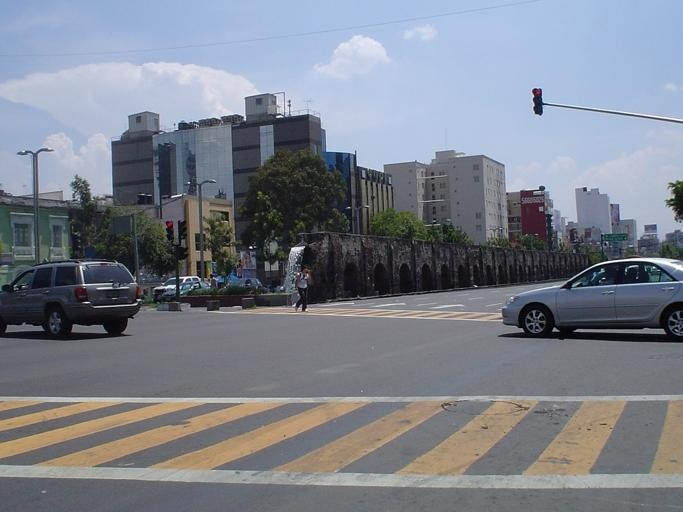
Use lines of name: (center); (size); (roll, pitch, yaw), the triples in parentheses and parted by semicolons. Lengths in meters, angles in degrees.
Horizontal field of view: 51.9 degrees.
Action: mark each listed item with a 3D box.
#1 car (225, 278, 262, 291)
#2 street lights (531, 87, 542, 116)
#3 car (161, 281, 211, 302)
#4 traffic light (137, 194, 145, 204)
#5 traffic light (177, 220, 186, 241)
car: (-8.083, 2.362, 58.469); (1.903, 1.073, 1.215); (3, -1, 1)
street lights: (7.684, -6.058, 27.448); (0.325, 1.003, 0.404); (-1, 1, 26)
car: (-10.120, 2.058, 45.425); (1.579, 1.289, 3.020); (-3, -6, 27)
traffic light: (-23.661, -6.765, 83.352); (0.947, 1.117, 1.796); (-2, 1, -17)
traffic light: (-7.242, -1.087, 31.917); (0.323, 0.769, 0.806); (-2, 1, -14)
